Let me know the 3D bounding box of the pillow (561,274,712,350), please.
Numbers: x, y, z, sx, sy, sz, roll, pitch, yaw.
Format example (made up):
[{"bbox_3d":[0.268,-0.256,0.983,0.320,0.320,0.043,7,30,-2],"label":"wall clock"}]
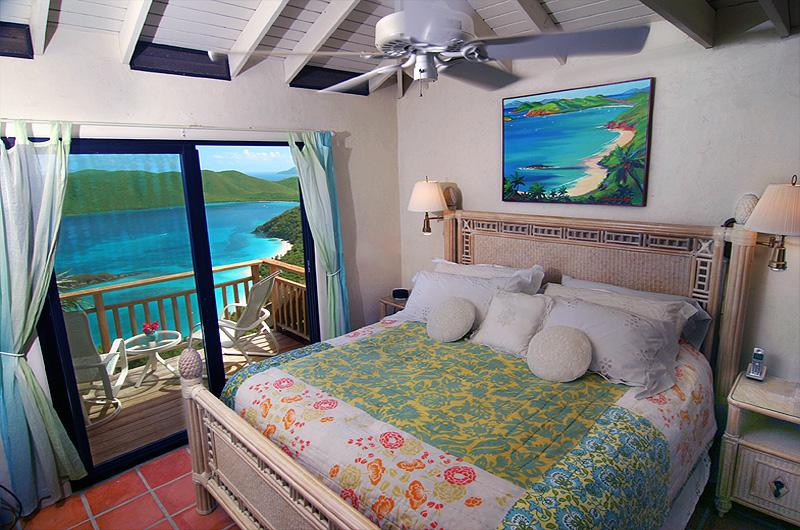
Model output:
[{"bbox_3d":[1.779,0.365,3.741,1.101,0.260,0.657,7,27,12],"label":"pillow"}]

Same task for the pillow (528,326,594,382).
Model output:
[{"bbox_3d":[1.142,0.678,3.412,0.404,0.361,0.185,-6,-31,15],"label":"pillow"}]

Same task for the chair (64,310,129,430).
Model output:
[{"bbox_3d":[-2.336,0.781,3.788,0.349,0.983,0.167,-12,13,-34],"label":"chair"}]

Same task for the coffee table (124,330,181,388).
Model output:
[{"bbox_3d":[-2.053,0.784,4.035,0.428,0.238,0.412,-8,4,-27],"label":"coffee table"}]

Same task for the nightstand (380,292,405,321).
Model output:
[{"bbox_3d":[-0.047,0.442,4.988,0.255,0.306,0.237,9,19,36],"label":"nightstand"}]

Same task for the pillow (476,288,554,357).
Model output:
[{"bbox_3d":[0.919,0.450,3.720,0.152,0.470,0.497,36,-10,-31],"label":"pillow"}]

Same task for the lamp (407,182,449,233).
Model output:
[{"bbox_3d":[0.283,-0.519,4.549,0.438,0.446,0.371,2,3,2],"label":"lamp"}]

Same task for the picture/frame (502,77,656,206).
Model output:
[{"bbox_3d":[1.507,-1.038,3.949,1.171,0.799,0.035,7,15,36],"label":"picture/frame"}]
